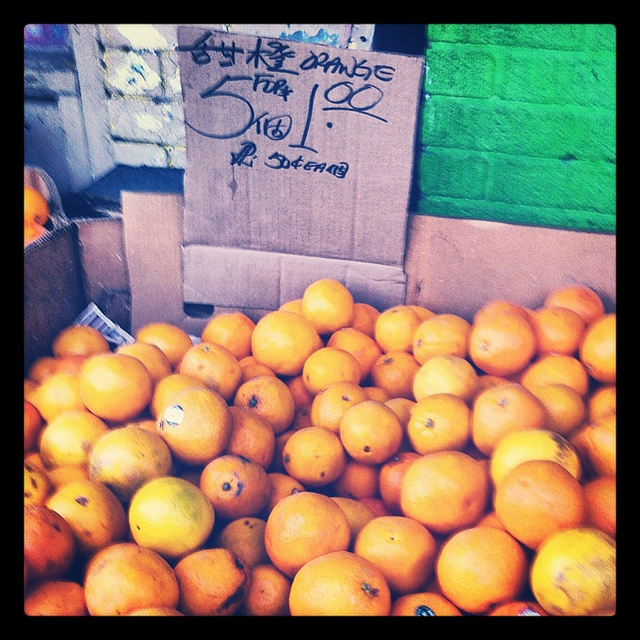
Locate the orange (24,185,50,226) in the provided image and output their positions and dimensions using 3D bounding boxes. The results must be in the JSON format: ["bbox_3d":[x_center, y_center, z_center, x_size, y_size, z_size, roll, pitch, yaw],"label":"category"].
[{"bbox_3d":[-0.587,-0.232,1.251,0.056,0.068,0.044,11,-15,-38],"label":"orange"}]

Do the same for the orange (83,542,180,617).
[{"bbox_3d":[-0.298,0.407,0.944,0.153,0.086,0.077,7,23,11],"label":"orange"}]

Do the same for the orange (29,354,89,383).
[{"bbox_3d":[-0.542,0.094,1.233,0.070,0.042,0.073,-4,11,7],"label":"orange"}]

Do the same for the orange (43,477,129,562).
[{"bbox_3d":[-0.386,0.314,1.043,0.112,0.140,0.115,-7,21,-13],"label":"orange"}]

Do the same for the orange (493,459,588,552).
[{"bbox_3d":[0.359,0.310,1.069,0.131,0.129,0.151,-42,63,-14],"label":"orange"}]

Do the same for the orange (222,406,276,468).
[{"bbox_3d":[-0.139,0.224,1.202,0.105,0.109,0.102,5,-26,-13],"label":"orange"}]

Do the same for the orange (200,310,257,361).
[{"bbox_3d":[-0.196,0.029,1.341,0.100,0.124,0.103,1,3,15],"label":"orange"}]

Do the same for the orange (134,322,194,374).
[{"bbox_3d":[-0.352,0.055,1.354,0.104,0.127,0.100,-10,14,-21],"label":"orange"}]

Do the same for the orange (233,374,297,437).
[{"bbox_3d":[-0.107,0.158,1.216,0.110,0.114,0.108,0,8,-8],"label":"orange"}]

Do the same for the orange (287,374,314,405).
[{"bbox_3d":[-0.044,0.158,1.368,0.053,0.068,0.056,-7,-19,-5],"label":"orange"}]

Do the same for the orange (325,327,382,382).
[{"bbox_3d":[0.067,0.062,1.359,0.109,0.135,0.104,-3,12,-1],"label":"orange"}]

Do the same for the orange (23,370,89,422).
[{"bbox_3d":[-0.503,0.143,1.162,0.089,0.114,0.091,-6,-4,-14],"label":"orange"}]

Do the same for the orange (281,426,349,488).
[{"bbox_3d":[-0.014,0.247,1.165,0.079,0.110,0.093,-13,4,14],"label":"orange"}]

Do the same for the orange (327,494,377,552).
[{"bbox_3d":[0.046,0.358,1.068,0.072,0.092,0.074,1,-27,-7],"label":"orange"}]

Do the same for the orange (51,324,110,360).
[{"bbox_3d":[-0.518,0.029,1.316,0.088,0.082,0.077,-8,9,3],"label":"orange"}]

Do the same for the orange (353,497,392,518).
[{"bbox_3d":[0.100,0.343,1.120,0.034,0.045,0.035,-5,6,27],"label":"orange"}]

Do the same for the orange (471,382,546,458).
[{"bbox_3d":[0.336,0.169,1.108,0.119,0.128,0.125,3,-1,4],"label":"orange"}]

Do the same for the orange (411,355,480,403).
[{"bbox_3d":[0.269,0.114,1.235,0.068,0.084,0.072,10,-13,-2],"label":"orange"}]

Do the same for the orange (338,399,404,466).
[{"bbox_3d":[0.095,0.204,1.129,0.105,0.113,0.111,4,-10,-38],"label":"orange"}]

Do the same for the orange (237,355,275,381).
[{"bbox_3d":[-0.144,0.106,1.313,0.051,0.052,0.052,-13,-15,36],"label":"orange"}]

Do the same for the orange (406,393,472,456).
[{"bbox_3d":[0.209,0.180,1.186,0.100,0.113,0.123,25,2,0],"label":"orange"}]

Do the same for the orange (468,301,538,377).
[{"bbox_3d":[0.365,0.058,1.307,0.139,0.171,0.135,10,-7,14],"label":"orange"}]

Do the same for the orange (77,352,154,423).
[{"bbox_3d":[-0.395,0.131,1.172,0.118,0.144,0.114,-11,1,-10],"label":"orange"}]

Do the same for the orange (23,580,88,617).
[{"bbox_3d":[-0.419,0.443,0.967,0.100,0.049,0.030,1,22,-3],"label":"orange"}]

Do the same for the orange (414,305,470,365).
[{"bbox_3d":[0.257,0.039,1.352,0.122,0.106,0.103,-26,36,-23],"label":"orange"}]

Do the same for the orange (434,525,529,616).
[{"bbox_3d":[0.260,0.409,0.998,0.117,0.148,0.124,-13,-25,37],"label":"orange"}]

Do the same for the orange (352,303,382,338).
[{"bbox_3d":[0.102,-0.003,1.451,0.067,0.071,0.083,-8,21,-7],"label":"orange"}]

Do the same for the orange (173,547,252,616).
[{"bbox_3d":[-0.168,0.410,0.956,0.110,0.091,0.087,-2,-18,2],"label":"orange"}]

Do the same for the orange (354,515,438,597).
[{"bbox_3d":[0.135,0.380,1.035,0.126,0.099,0.121,-28,20,2],"label":"orange"}]

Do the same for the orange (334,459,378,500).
[{"bbox_3d":[0.073,0.307,1.159,0.064,0.068,0.065,3,18,0],"label":"orange"}]

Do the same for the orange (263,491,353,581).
[{"bbox_3d":[-0.023,0.342,1.066,0.143,0.132,0.131,-4,2,-20],"label":"orange"}]

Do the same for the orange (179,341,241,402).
[{"bbox_3d":[-0.215,0.096,1.227,0.114,0.141,0.113,5,11,16],"label":"orange"}]

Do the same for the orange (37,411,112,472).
[{"bbox_3d":[-0.446,0.215,1.105,0.110,0.102,0.096,-18,6,-24],"label":"orange"}]

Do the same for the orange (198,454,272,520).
[{"bbox_3d":[-0.146,0.295,1.102,0.103,0.124,0.100,-10,-7,-43],"label":"orange"}]

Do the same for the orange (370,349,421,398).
[{"bbox_3d":[0.160,0.118,1.305,0.091,0.092,0.092,-21,18,4],"label":"orange"}]

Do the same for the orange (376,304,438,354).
[{"bbox_3d":[0.190,0.019,1.341,0.120,0.109,0.111,-4,50,-2],"label":"orange"}]

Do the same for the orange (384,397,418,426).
[{"bbox_3d":[0.160,0.180,1.210,0.048,0.059,0.048,0,-10,-2],"label":"orange"}]

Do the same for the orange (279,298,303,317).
[{"bbox_3d":[-0.063,-0.031,1.382,0.039,0.022,0.040,-4,34,4],"label":"orange"}]

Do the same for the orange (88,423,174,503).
[{"bbox_3d":[-0.323,0.235,1.076,0.140,0.127,0.120,-18,39,-37],"label":"orange"}]

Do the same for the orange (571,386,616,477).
[{"bbox_3d":[0.514,0.215,1.165,0.105,0.145,0.078,-5,-4,36],"label":"orange"}]

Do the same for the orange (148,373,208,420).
[{"bbox_3d":[-0.271,0.136,1.166,0.087,0.108,0.086,-1,3,-8],"label":"orange"}]

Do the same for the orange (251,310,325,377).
[{"bbox_3d":[-0.089,0.042,1.356,0.141,0.141,0.135,-1,39,-18],"label":"orange"}]

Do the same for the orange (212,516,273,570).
[{"bbox_3d":[-0.127,0.373,1.029,0.069,0.086,0.069,-2,20,-3],"label":"orange"}]

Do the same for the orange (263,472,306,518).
[{"bbox_3d":[-0.064,0.315,1.155,0.073,0.084,0.100,-9,1,-16],"label":"orange"}]

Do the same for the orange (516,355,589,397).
[{"bbox_3d":[0.480,0.107,1.279,0.109,0.095,0.093,-12,-31,-9],"label":"orange"}]

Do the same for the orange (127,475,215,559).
[{"bbox_3d":[-0.243,0.313,1.004,0.127,0.129,0.118,11,-17,-32],"label":"orange"}]

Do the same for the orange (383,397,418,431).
[{"bbox_3d":[0.160,0.188,1.219,0.050,0.053,0.061,0,52,0],"label":"orange"}]
